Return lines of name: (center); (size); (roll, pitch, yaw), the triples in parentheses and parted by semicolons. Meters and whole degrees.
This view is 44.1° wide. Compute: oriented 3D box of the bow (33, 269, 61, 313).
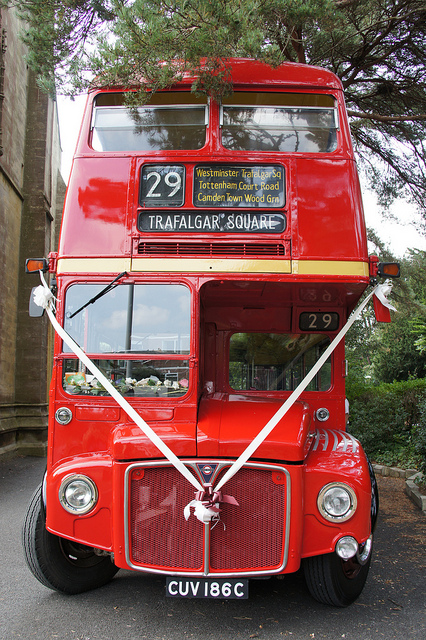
bow: (-1.308, -0.185, 4.133); (0.152, 0.152, 0.308); (-6, -20, -3)

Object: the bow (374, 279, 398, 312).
bow: (1.438, -0.204, 4.384); (0.135, 0.264, 0.362); (-4, -9, 33)

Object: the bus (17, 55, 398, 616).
bus: (0.006, -0.155, 6.065); (2.525, 4.691, 5.232); (2, 4, 2)

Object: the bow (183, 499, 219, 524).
bow: (-0.085, 1.175, 3.216); (0.221, 0.146, 0.154); (-1, -8, 14)

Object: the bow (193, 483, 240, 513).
bow: (-0.016, 1.084, 3.205); (0.188, 0.056, 0.189); (3, -3, -40)
